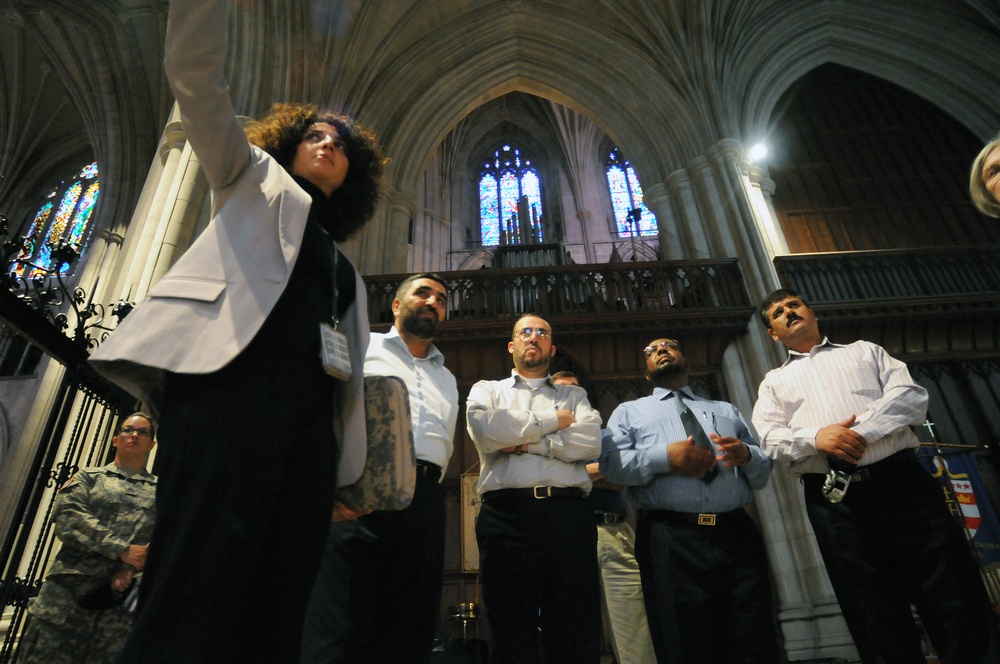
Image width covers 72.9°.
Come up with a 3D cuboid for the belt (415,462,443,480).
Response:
[{"bbox_3d":[-0.457,0.924,4.461,0.053,0.116,0.234,-16,-32,28],"label":"belt"}]

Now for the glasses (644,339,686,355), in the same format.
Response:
[{"bbox_3d":[1.335,0.124,5.547,0.268,0.171,0.140,3,-28,-5],"label":"glasses"}]
